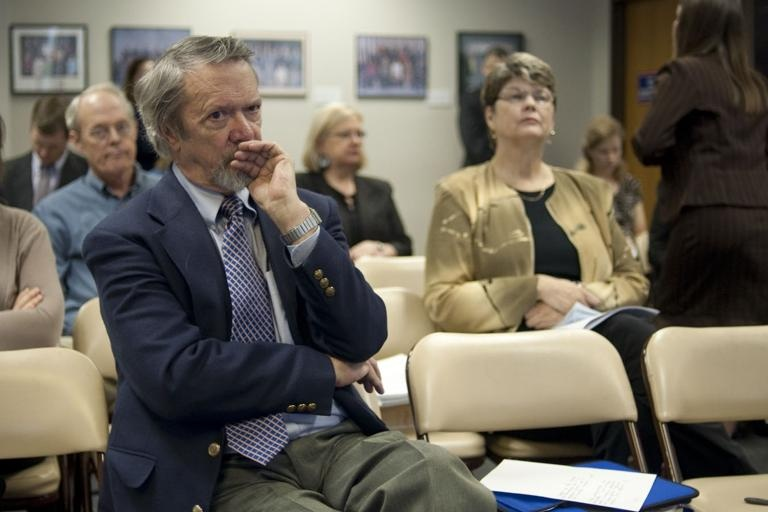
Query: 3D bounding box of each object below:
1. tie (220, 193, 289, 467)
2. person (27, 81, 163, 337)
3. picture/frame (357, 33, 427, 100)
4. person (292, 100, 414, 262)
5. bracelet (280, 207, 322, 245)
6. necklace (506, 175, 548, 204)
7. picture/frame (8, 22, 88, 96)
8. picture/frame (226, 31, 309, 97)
[{"bbox_3d":[-0.456,0.226,2.163,0.241,1.002,0.091,-4,4,38],"label":"tie"},{"bbox_3d":[-1.406,-0.238,3.508,0.767,1.287,0.743,-5,9,-27],"label":"person"},{"bbox_3d":[0.057,-1.052,3.704,0.319,0.303,0.026,0,10,-1],"label":"picture/frame"},{"bbox_3d":[-0.169,-0.398,3.838,0.657,0.930,0.797,5,-7,-44],"label":"person"},{"bbox_3d":[-0.257,-0.075,2.156,0.128,0.085,0.137,-28,-4,-29],"label":"bracelet"},{"bbox_3d":[0.662,-0.310,3.009,0.132,0.034,0.129,18,53,21],"label":"necklace"},{"bbox_3d":[-1.746,-1.004,3.449,0.341,0.365,0.025,-1,0,-9],"label":"picture/frame"},{"bbox_3d":[-0.591,-1.014,3.614,0.335,0.335,0.045,-2,6,-4],"label":"picture/frame"}]
